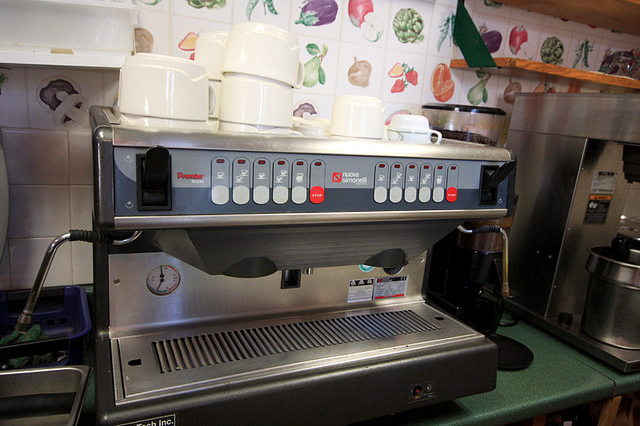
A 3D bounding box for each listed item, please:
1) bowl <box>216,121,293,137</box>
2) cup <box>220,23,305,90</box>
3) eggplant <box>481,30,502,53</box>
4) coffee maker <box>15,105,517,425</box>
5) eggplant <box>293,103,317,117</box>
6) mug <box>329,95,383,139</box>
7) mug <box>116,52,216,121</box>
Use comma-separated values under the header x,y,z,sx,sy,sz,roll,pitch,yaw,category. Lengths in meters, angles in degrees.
x,y,z,sx,sy,sz,roll,pitch,yaw,category
-0.138,-0.181,0.949,0.164,0.038,0.117,-2,8,-10,bowl
-0.130,-0.345,1.031,0.221,0.104,0.161,6,-4,-21,cup
0.686,-0.682,1.745,0.098,0.084,0.018,-5,9,-30,eggplant
-0.264,0.053,1.472,1.407,0.773,1.078,-5,22,-29,coffee maker
-0.054,-0.363,1.545,0.061,0.049,0.024,-11,47,-10,eggplant
0.102,-0.241,1.093,0.138,0.094,0.136,6,15,10,mug
-0.344,-0.291,1.010,0.233,0.135,0.183,-6,21,-32,mug
